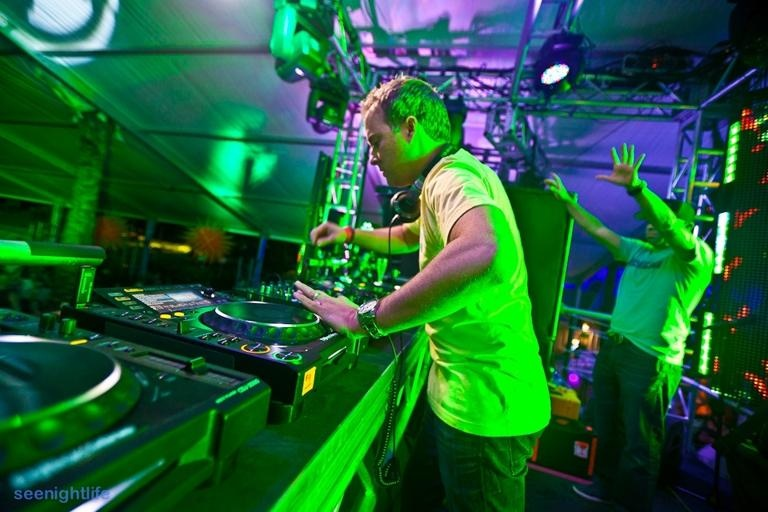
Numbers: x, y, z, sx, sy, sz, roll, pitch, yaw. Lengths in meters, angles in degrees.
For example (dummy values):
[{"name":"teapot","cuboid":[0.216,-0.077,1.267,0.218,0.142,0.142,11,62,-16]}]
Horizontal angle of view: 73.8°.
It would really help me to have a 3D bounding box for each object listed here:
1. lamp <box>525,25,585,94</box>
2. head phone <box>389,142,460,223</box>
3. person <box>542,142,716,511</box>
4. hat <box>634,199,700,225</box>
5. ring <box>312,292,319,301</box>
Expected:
[{"name":"lamp","cuboid":[1.756,-1.911,5.136,0.447,0.379,0.666,6,-8,8]},{"name":"head phone","cuboid":[0.190,-0.339,2.295,0.127,0.312,0.350,35,34,8]},{"name":"person","cuboid":[1.751,0.664,3.664,0.828,2.337,1.066,1,-11,41]},{"name":"hat","cuboid":[2.128,-0.324,3.819,0.341,0.121,0.240,28,4,-6]},{"name":"ring","cuboid":[-0.288,0.173,2.179,0.031,0.029,0.030,-4,4,0]}]
